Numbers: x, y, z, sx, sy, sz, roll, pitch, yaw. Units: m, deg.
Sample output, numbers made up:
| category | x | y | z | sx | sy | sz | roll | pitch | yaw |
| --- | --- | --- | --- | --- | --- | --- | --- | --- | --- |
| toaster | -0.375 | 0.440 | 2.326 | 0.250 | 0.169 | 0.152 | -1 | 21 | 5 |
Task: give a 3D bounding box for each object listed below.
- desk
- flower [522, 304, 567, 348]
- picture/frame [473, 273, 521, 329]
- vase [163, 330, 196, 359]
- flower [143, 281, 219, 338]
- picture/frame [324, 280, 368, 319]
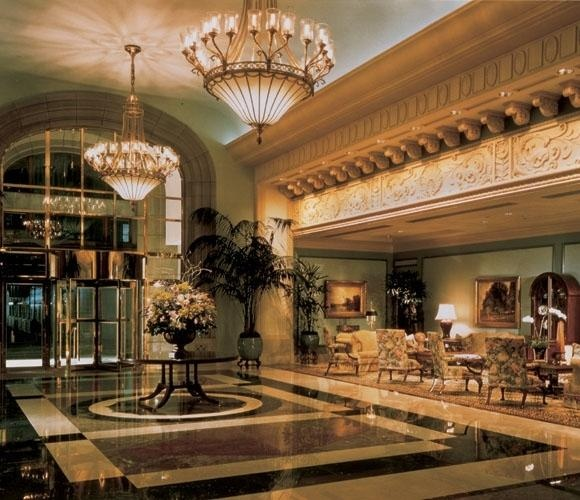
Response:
| category | x | y | z | sx | sy | sz | roll | pitch | yaw |
| --- | --- | --- | --- | --- | --- | --- | --- | --- | --- |
| desk | -1.675 | 2.014 | 8.183 | 1.765 | 0.652 | 1.727 | 2 | -13 | -12 |
| flower | 5.532 | 1.634 | 11.457 | 0.319 | 1.018 | 1.014 | 4 | -2 | -35 |
| picture/frame | 5.402 | 1.318 | 13.713 | 0.109 | 1.366 | 1.372 | 5 | -10 | -30 |
| vase | -1.636 | 1.396 | 7.955 | 0.439 | 0.325 | 0.422 | -1 | -17 | 1 |
| flower | -1.700 | 0.928 | 8.139 | 0.961 | 0.992 | 1.003 | 0 | -1 | 22 |
| picture/frame | 1.676 | 1.540 | 16.484 | 1.272 | 1.019 | 0.094 | 1 | 0 | -19 |
